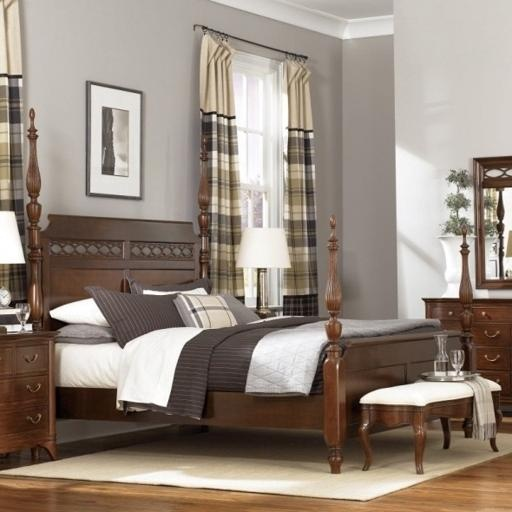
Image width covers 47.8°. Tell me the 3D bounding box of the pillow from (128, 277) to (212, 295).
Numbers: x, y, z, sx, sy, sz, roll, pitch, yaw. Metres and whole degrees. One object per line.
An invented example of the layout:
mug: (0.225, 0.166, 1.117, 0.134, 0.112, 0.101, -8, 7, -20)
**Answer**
pillow: (-0.610, 0.240, 4.250, 0.055, 0.145, 0.401, -31, -20, 34)

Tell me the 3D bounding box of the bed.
bed: (-0.111, 0.461, 4.073, 2.442, 2.073, 2.410, -2, 0, 32)

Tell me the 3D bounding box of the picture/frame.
picture/frame: (-1.097, -0.868, 4.436, 0.032, 0.810, 0.513, 11, 12, 38)
